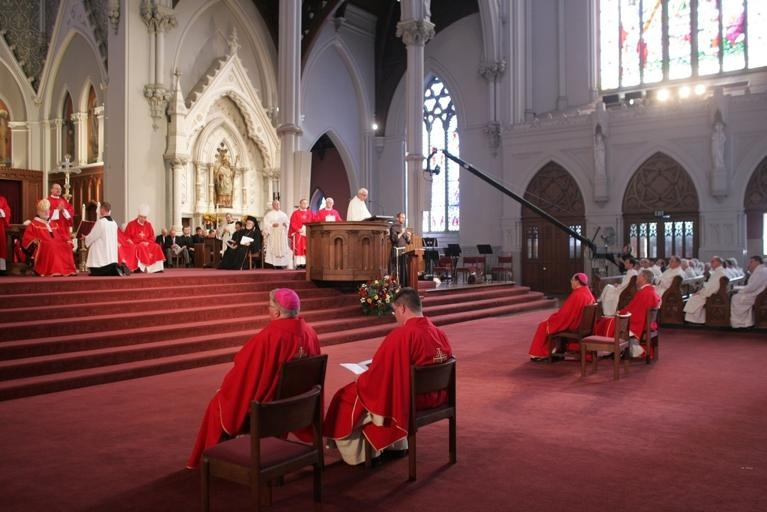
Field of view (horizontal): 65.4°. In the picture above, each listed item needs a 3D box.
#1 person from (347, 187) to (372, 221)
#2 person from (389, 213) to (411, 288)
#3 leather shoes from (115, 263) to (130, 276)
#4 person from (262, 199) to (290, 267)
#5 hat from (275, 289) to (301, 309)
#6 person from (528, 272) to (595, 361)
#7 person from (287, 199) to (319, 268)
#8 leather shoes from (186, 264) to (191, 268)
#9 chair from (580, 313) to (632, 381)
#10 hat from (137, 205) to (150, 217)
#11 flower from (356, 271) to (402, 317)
[{"bbox_3d":[-0.613,-1.253,15.710,0.653,1.015,0.669,1,-6,26],"label":"person"},{"bbox_3d":[0.417,-0.188,14.976,0.468,1.806,0.999,-1,3,6],"label":"person"},{"bbox_3d":[-5.603,0.252,12.889,0.142,0.429,0.248,-28,-23,25],"label":"leather shoes"},{"bbox_3d":[-2.837,-0.481,16.146,0.661,1.553,0.405,-2,3,-10],"label":"person"},{"bbox_3d":[-1.050,0.460,6.594,0.217,0.098,0.232,26,36,-10],"label":"hat"},{"bbox_3d":[3.134,1.100,10.572,1.092,1.524,0.587,0,4,23],"label":"person"},{"bbox_3d":[-2.152,-0.612,16.104,0.722,1.848,0.862,0,4,24],"label":"person"},{"bbox_3d":[-5.886,0.275,18.298,0.109,0.104,0.035,28,1,-15],"label":"leather shoes"},{"bbox_3d":[3.840,1.495,10.294,0.958,1.552,1.044,1,-3,25],"label":"chair"},{"bbox_3d":[-5.781,-1.102,14.617,0.269,0.326,0.294,12,5,-20],"label":"hat"},{"bbox_3d":[-0.129,0.855,13.451,0.824,0.649,0.843,-11,24,-28],"label":"flower"}]
